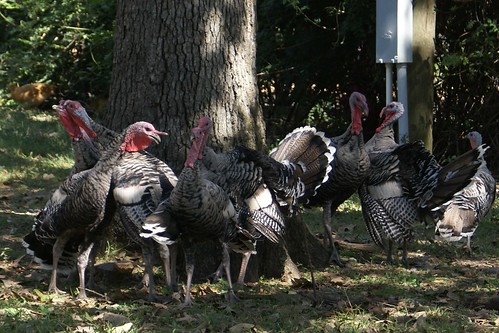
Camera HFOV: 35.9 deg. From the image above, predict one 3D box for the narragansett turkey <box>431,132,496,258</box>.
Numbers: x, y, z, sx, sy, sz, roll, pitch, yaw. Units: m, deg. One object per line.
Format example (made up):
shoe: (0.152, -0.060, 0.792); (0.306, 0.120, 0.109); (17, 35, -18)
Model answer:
narragansett turkey: (3.434, 0.700, 12.258); (0.884, 1.417, 1.938); (1, -2, 17)

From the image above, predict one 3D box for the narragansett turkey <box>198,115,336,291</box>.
narragansett turkey: (0.007, 0.206, 11.259); (1.141, 2.424, 3.022); (20, 29, 35)
